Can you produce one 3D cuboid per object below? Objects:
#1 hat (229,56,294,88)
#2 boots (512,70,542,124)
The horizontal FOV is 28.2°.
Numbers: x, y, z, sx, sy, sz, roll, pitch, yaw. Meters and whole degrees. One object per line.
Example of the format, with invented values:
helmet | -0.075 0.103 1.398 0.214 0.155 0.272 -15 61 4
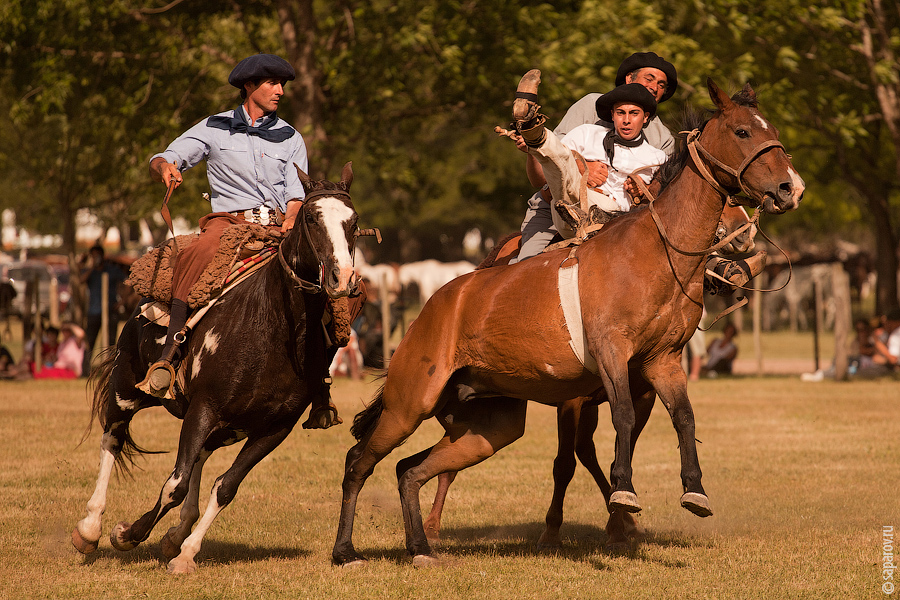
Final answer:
hat | -2.178 -2.627 20.657 0.527 0.194 0.432 0 -6 5
boots | 0.839 -2.231 19.632 0.267 0.641 0.283 17 -2 16
